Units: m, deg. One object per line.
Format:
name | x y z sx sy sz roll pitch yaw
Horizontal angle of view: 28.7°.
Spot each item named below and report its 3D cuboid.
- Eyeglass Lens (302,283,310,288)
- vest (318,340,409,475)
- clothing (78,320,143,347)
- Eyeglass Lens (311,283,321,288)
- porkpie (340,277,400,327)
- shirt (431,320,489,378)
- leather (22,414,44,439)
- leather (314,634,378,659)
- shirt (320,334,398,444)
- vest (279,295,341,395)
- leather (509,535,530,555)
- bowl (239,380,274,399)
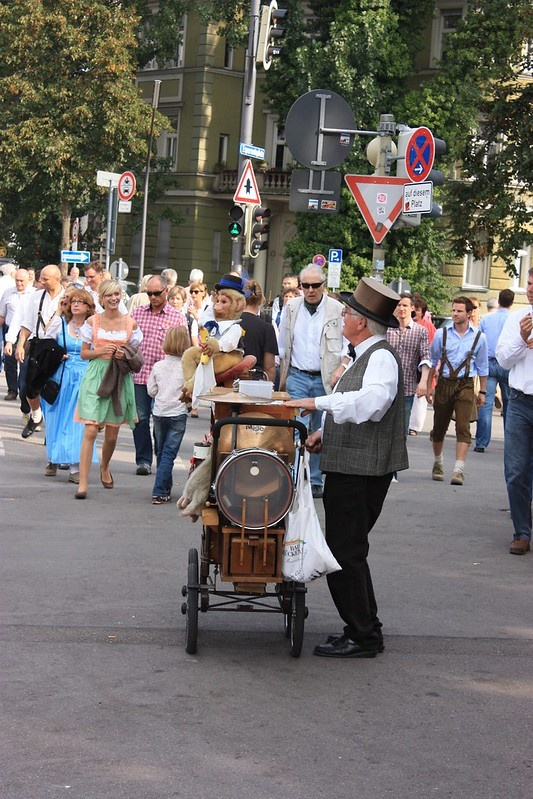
Eyeglass Lens | 0.354 -1.032 9.371 0.052 0.018 0.051 15 18 -12
vest | 0.467 0.005 5.250 0.593 0.843 0.647 1 4 5
clothing | -1.460 -0.599 9.804 0.484 0.226 0.180 2 23 -2
Eyeglass Lens | 0.448 -1.032 9.370 0.055 0.017 0.054 -2 33 0
porkpie | 0.491 -0.468 4.944 0.297 0.240 0.277 5 3 14
shirt | 2.205 -0.586 11.884 0.787 0.612 0.389 5 17 5
leather | -3.091 0.353 13.488 0.159 0.188 0.462 5 14 7
leather | 0.375 1.183 5.021 0.316 0.128 0.117 6 -10 1
shirt | 0.427 -0.099 4.729 0.317 0.339 0.571 1 6 5
vest | 0.434 -0.465 9.818 0.727 0.967 0.383 2 -2 6
leather | 1.936 1.096 7.891 0.102 0.107 0.273 -1 -9 11
bowl | -0.046 -0.049 4.755 0.131 0.054 0.083 1 7 -9
